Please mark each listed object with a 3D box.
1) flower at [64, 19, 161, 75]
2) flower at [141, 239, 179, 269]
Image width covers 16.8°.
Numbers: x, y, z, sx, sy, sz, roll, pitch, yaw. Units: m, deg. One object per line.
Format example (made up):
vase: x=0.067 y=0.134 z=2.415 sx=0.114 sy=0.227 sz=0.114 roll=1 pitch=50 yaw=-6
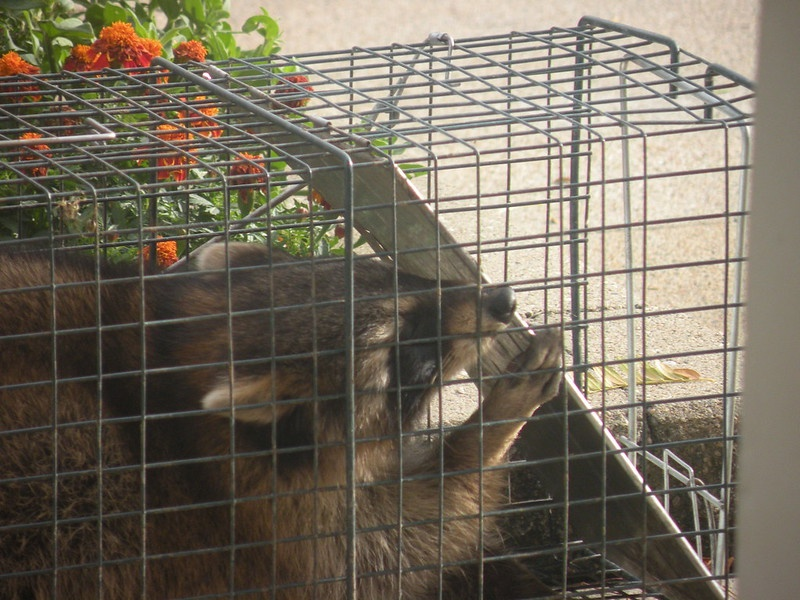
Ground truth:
flower: x=-1.595 y=-1.435 z=15.217 sx=0.436 sy=0.217 sz=0.448 roll=-8 pitch=10 yaw=-21
flower: x=-1.291 y=-0.297 z=15.056 sx=0.176 sy=0.213 sz=0.085 roll=-7 pitch=28 yaw=-16
